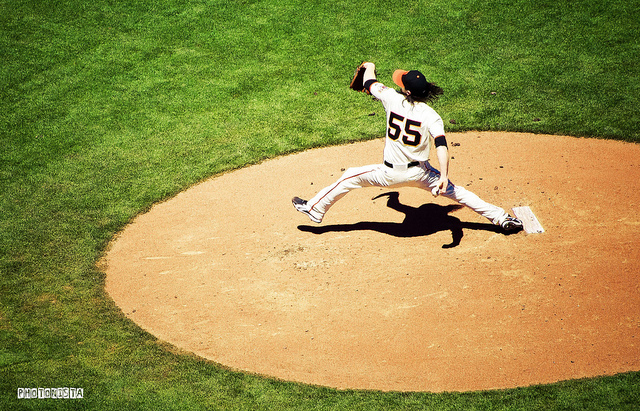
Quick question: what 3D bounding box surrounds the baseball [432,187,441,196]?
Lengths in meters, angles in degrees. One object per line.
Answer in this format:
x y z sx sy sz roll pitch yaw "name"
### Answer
2.168 -0.232 15.917 0.154 0.268 0.108 0 96 -7 "baseball"
